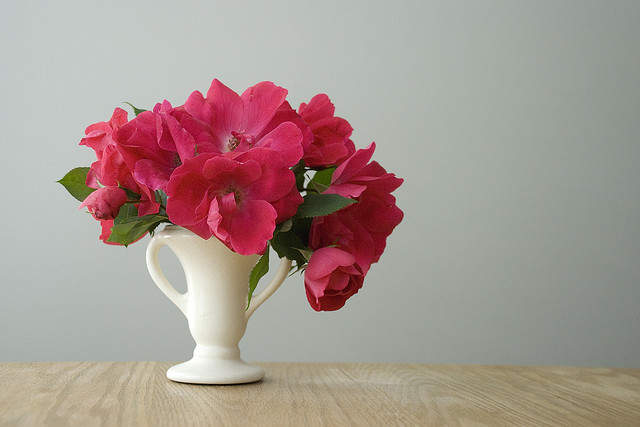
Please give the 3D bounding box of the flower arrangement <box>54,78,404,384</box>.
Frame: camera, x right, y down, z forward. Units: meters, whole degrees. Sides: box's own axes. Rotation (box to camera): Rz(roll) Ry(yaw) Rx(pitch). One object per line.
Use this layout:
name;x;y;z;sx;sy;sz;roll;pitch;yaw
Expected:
flower arrangement;-0.203;-0.041;1.358;0.701;0.671;0.627;7;-10;-31

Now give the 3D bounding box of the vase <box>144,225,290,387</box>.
vase;-0.223;0.199;1.305;0.319;0.330;0.241;1;-5;-6
